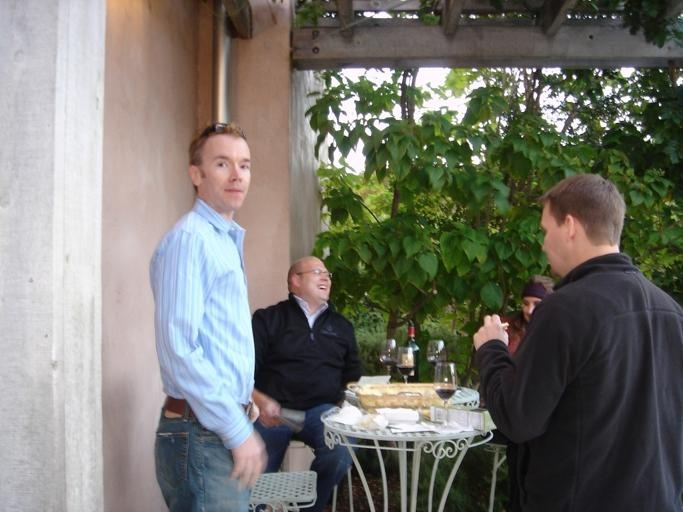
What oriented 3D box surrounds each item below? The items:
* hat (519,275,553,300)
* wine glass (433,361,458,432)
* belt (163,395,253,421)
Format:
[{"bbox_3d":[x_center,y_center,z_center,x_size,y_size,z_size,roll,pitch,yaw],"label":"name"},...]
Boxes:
[{"bbox_3d":[1.096,0.171,3.969,0.185,0.163,0.145,0,10,-2],"label":"hat"},{"bbox_3d":[0.428,0.561,2.895,0.084,0.232,0.234,2,2,8],"label":"wine glass"},{"bbox_3d":[-0.464,0.513,2.329,0.174,0.072,0.139,-7,-14,11],"label":"belt"}]
